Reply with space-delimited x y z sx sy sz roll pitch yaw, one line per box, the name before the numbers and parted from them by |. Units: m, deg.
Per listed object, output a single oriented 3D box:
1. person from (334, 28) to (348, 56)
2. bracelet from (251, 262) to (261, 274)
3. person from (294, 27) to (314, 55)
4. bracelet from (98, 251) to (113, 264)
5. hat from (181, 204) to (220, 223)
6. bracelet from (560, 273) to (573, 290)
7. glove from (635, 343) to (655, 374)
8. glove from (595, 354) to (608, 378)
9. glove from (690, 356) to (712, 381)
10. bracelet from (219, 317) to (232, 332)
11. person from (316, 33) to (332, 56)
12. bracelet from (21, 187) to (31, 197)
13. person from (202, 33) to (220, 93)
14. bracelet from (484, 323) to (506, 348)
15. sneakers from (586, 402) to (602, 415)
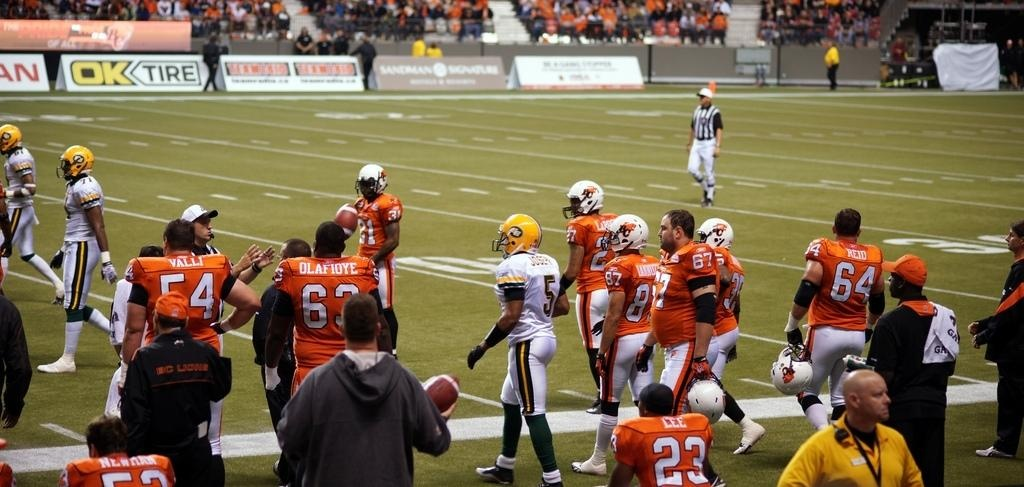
person | -7.291 -8.595 53.519 0.579 1.032 0.737 -2 5 -2
bracelet | -5.344 0.532 26.409 0.188 0.114 0.200 -4 -35 19
person | -8.945 -8.716 54.155 0.786 1.145 1.599 -3 5 -15
bracelet | -9.623 0.356 29.754 0.264 0.346 0.234 -16 -36 -14
hat | -7.251 -0.672 29.317 0.811 0.364 0.495 -11 9 8
bracelet | 1.187 0.830 27.081 0.345 0.149 0.253 -44 -9 31
glove | 2.773 2.420 26.198 0.411 0.535 0.210 17 0 39
glove | 1.870 2.590 26.435 0.179 0.407 0.314 0 3 -20
glove | 3.817 2.589 25.842 0.377 0.466 0.489 -11 -2 4
bracelet | -5.791 1.696 25.715 0.210 0.241 0.264 17 26 -44
person | -7.982 -8.511 53.284 0.617 0.927 0.482 -3 5 -14
bracelet | -11.748 -1.244 30.581 0.201 0.196 0.205 10 -3 18
person | -11.903 -7.166 49.790 0.681 2.187 0.953 -3 5 -15
bracelet | -0.347 1.947 25.813 0.511 0.187 0.383 -39 2 28
sneakers | 1.831 3.709 27.810 0.164 0.172 0.424 1 0 -33
